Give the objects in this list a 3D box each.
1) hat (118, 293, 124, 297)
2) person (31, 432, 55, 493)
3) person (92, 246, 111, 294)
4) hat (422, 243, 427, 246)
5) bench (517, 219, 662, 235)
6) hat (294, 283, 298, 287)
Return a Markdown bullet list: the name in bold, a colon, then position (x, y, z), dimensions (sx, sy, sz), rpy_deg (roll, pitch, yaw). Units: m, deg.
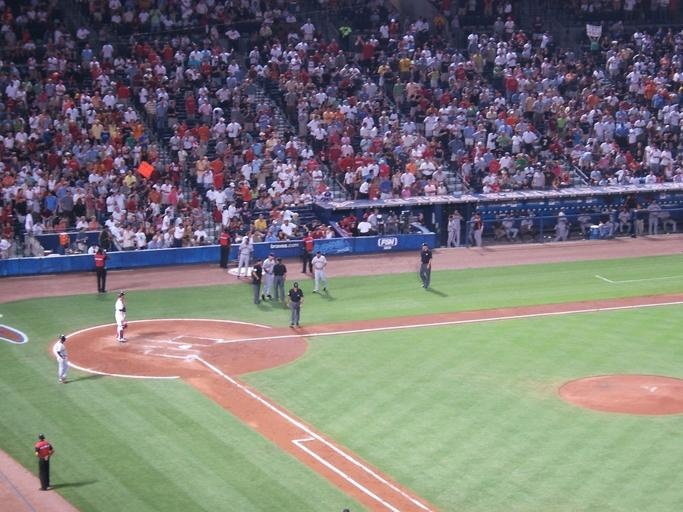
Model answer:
- **hat**: position (-9.303, 1.587, 48.072), dimensions (0.320, 0.127, 0.291), rpy_deg (-4, 6, -19)
- **person**: position (-9.600, 6.503, 36.844), dimensions (0.502, 1.797, 1.093), rpy_deg (-3, 11, -14)
- **person**: position (-11.033, 0.611, 52.488), dimensions (0.529, 1.932, 1.444), rpy_deg (-2, 11, -10)
- **hat**: position (4.170, -0.651, 57.319), dimensions (0.318, 0.107, 0.373), rpy_deg (1, -5, 2)
- **bench**: position (14.146, -1.683, 64.654), dimensions (6.589, 1.078, 0.924), rpy_deg (-2, -4, -17)
- **hat**: position (-1.905, 1.144, 47.567), dimensions (0.170, 0.180, 0.185), rpy_deg (5, 55, 0)
